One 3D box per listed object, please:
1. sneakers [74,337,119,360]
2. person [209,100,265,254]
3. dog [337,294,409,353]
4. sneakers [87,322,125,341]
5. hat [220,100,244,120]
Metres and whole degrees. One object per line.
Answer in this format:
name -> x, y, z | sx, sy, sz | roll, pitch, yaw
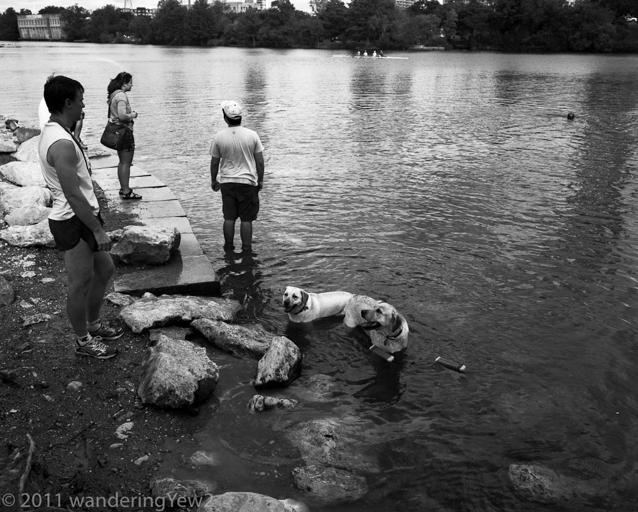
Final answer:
sneakers -> -2.883, 1.193, 7.268 | 0.619, 0.266, 0.235 | 13, 36, -16
person -> -1.568, -1.477, 10.799 | 0.987, 2.963, 0.742 | -3, 20, -10
dog -> 0.964, 0.957, 8.819 | 0.875, 0.623, 1.536 | 11, 7, -8
sneakers -> -2.890, 0.978, 7.546 | 0.468, 0.202, 0.172 | 7, 41, -29
hat -> -1.603, -2.673, 10.205 | 0.356, 0.318, 0.455 | -3, 19, -8
